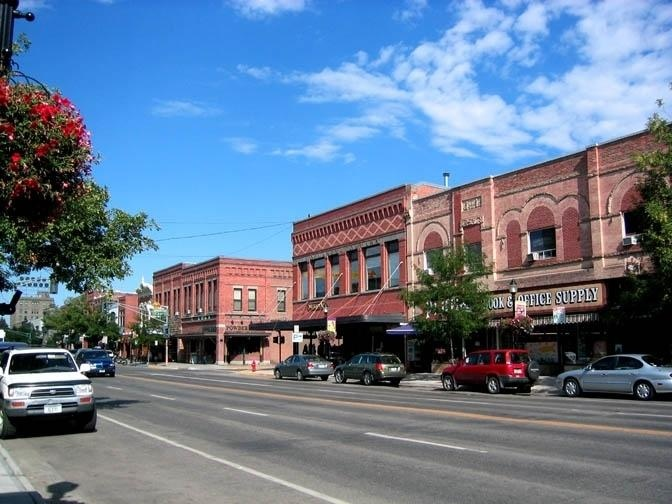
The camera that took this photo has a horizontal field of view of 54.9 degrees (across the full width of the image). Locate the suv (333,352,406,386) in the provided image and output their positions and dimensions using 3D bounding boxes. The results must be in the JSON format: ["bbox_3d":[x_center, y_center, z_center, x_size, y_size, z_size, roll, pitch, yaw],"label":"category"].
[{"bbox_3d":[1.974,6.331,35.558,1.718,1.491,3.830,6,-7,-36],"label":"suv"}]

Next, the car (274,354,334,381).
[{"bbox_3d":[-2.141,7.122,40.143,1.558,1.202,3.692,6,-8,-35],"label":"car"}]

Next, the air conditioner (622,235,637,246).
[{"bbox_3d":[13.835,-0.539,30.272,0.321,0.515,0.832,1,-6,-23],"label":"air conditioner"}]

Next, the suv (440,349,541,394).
[{"bbox_3d":[7.042,5.377,29.071,1.802,1.575,3.540,7,-7,-35],"label":"suv"}]
